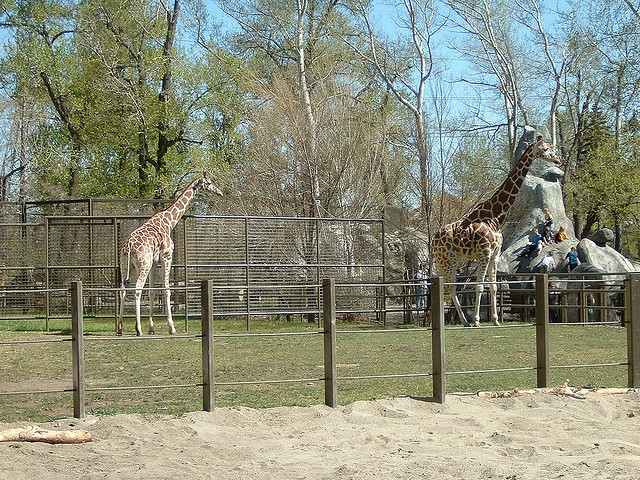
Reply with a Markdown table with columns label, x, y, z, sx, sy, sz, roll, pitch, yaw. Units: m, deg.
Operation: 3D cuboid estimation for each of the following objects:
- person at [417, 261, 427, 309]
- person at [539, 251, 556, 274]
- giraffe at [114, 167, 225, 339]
| label | x | y | z | sx | sy | sz | roll | pitch | yaw |
| --- | --- | --- | --- | --- | --- | --- | --- | --- | --- |
| person | 3.512 | 1.598 | 31.876 | 0.230 | 1.050 | 0.244 | -2 | -2 | -41 |
| person | 7.809 | 0.813 | 31.976 | 0.391 | 0.545 | 1.149 | 2 | 26 | 29 |
| giraffe | -3.922 | 0.236 | 23.548 | 2.370 | 4.248 | 5.318 | 1 | -4 | -11 |
